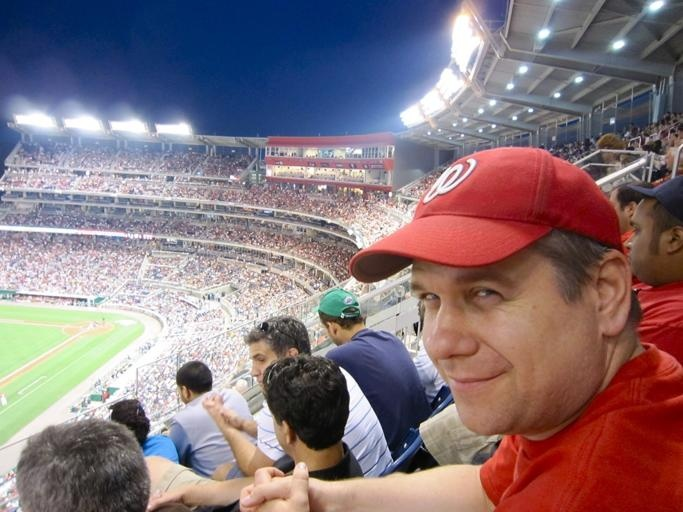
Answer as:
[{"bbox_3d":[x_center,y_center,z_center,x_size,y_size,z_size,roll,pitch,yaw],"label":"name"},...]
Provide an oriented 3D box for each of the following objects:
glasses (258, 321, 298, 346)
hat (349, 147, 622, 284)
[{"bbox_3d":[-0.576,0.673,4.166,0.262,0.073,0.238,24,-12,-21],"label":"glasses"},{"bbox_3d":[0.579,-0.123,1.802,0.831,0.361,0.523,5,-10,-13],"label":"hat"}]
